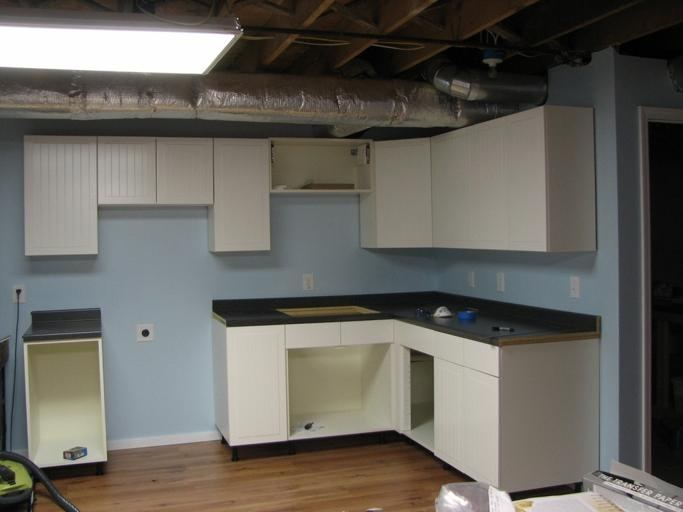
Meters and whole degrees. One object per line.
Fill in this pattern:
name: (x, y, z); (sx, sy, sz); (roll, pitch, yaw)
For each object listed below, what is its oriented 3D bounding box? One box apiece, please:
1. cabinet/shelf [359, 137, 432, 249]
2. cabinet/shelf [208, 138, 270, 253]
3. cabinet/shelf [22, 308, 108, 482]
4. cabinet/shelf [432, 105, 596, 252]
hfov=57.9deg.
cabinet/shelf: (0.501, -0.519, 5.845); (0.774, 1.548, 0.849); (0, -1, 9)
cabinet/shelf: (-0.792, -0.478, 5.065); (0.495, 0.918, 0.309); (0, 1, 0)
cabinet/shelf: (-2.272, 0.952, 4.635); (0.597, 0.994, 0.600); (0, 10, -42)
cabinet/shelf: (1.240, -0.532, 4.705); (0.447, 0.987, 1.420); (-2, 3, -23)
